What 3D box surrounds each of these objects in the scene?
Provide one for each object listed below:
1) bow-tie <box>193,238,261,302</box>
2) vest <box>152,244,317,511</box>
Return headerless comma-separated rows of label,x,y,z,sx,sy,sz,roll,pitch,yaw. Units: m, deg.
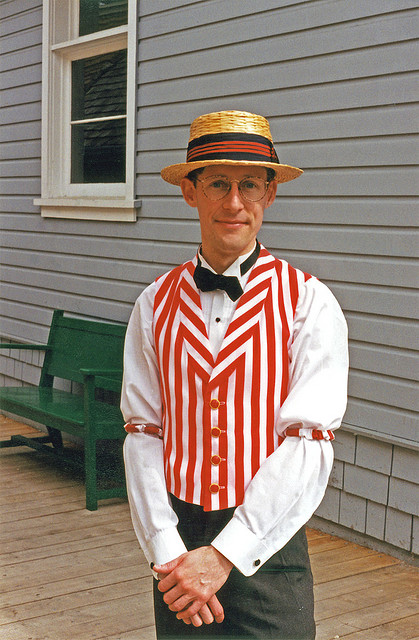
bow-tie,0.037,-0.115,1.446,0.108,0.127,0.062,5,-44,25
vest,0.047,0.080,1.420,0.377,0.488,0.406,8,18,14
